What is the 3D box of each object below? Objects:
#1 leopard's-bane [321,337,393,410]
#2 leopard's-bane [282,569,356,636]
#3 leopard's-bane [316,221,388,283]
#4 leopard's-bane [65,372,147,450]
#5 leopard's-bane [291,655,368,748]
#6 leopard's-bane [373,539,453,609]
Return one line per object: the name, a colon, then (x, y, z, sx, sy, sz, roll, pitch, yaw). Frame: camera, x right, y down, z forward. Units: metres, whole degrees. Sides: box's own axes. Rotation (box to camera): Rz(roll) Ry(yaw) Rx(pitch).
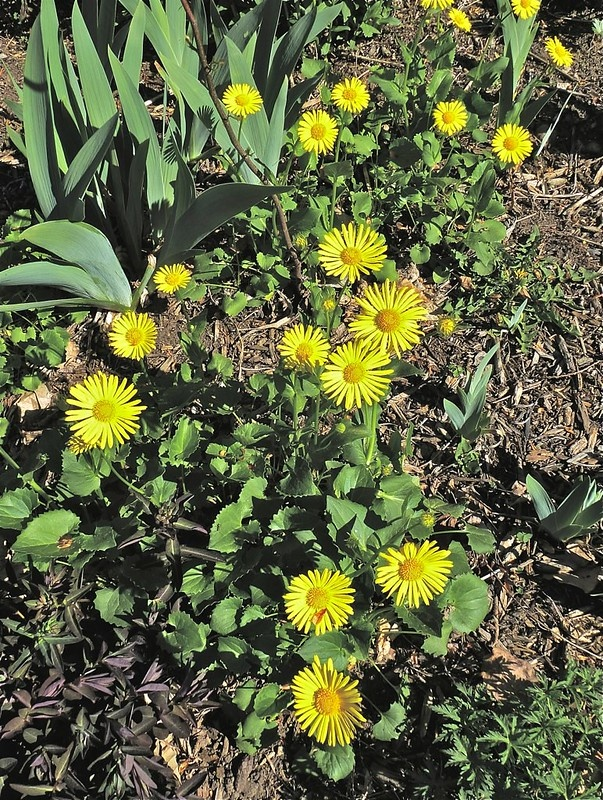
leopard's-bane: (0.117, -0.084, 1.439, 0.127, 0.133, 0.051, 39, 42, -48)
leopard's-bane: (0.028, 0.383, 1.283, 0.142, 0.043, 0.154, 6, 9, 28)
leopard's-bane: (0.126, -0.370, 1.582, 0.159, 0.065, 0.160, 16, -16, -41)
leopard's-bane: (-0.454, 0.009, 1.457, 0.162, 0.048, 0.169, 13, 28, -3)
leopard's-bane: (0.054, 0.597, 1.279, 0.180, 0.054, 0.159, -5, 37, -26)
leopard's-bane: (0.234, 0.351, 1.317, 0.193, 0.073, 0.196, -11, 20, 14)
